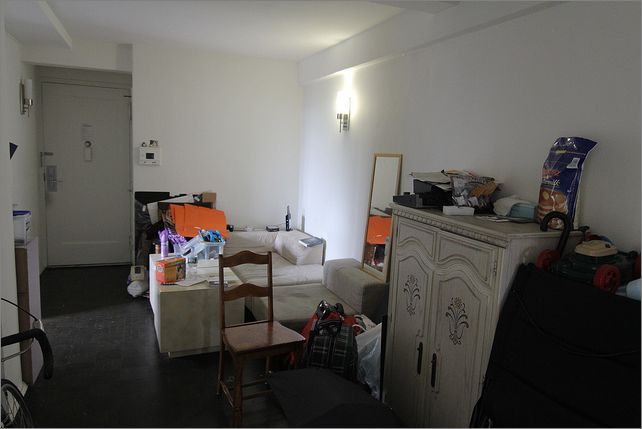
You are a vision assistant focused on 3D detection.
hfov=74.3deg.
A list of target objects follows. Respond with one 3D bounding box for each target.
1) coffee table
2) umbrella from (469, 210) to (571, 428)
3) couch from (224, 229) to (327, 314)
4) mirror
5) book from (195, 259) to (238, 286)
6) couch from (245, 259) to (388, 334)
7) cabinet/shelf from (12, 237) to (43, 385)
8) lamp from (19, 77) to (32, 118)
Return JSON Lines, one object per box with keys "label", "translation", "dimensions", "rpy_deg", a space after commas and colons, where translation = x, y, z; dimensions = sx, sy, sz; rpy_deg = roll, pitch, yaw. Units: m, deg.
{"label": "coffee table", "translation": [-1.389, 1.002, 4.600], "dimensions": [0.806, 0.722, 1.489], "rpy_deg": [-3, 12, -21]}
{"label": "umbrella", "translation": [1.336, 0.670, 2.778], "dimensions": [0.716, 1.383, 0.248], "rpy_deg": [-6, 12, -38]}
{"label": "couch", "translation": [-0.521, 0.717, 5.686], "dimensions": [0.823, 0.520, 1.132], "rpy_deg": [0, 14, -17]}
{"label": "mirror", "translation": [0.641, 0.016, 4.597], "dimensions": [0.023, 1.357, 0.634], "rpy_deg": [4, 6, -20]}
{"label": "book", "translation": [-1.188, 0.631, 4.663], "dimensions": [0.350, 0.083, 0.322], "rpy_deg": [0, 14, -22]}
{"label": "couch", "translation": [-0.027, 0.867, 4.538], "dimensions": [0.850, 0.484, 0.921], "rpy_deg": [2, 10, -17]}
{"label": "cabinet/shelf", "translation": [-2.620, 0.880, 3.794], "dimensions": [0.120, 1.291, 0.471], "rpy_deg": [-2, 10, -16]}
{"label": "lamp", "translation": [-3.842, -1.549, 5.524], "dimensions": [0.128, 0.448, 0.105], "rpy_deg": [-1, 14, -31]}
